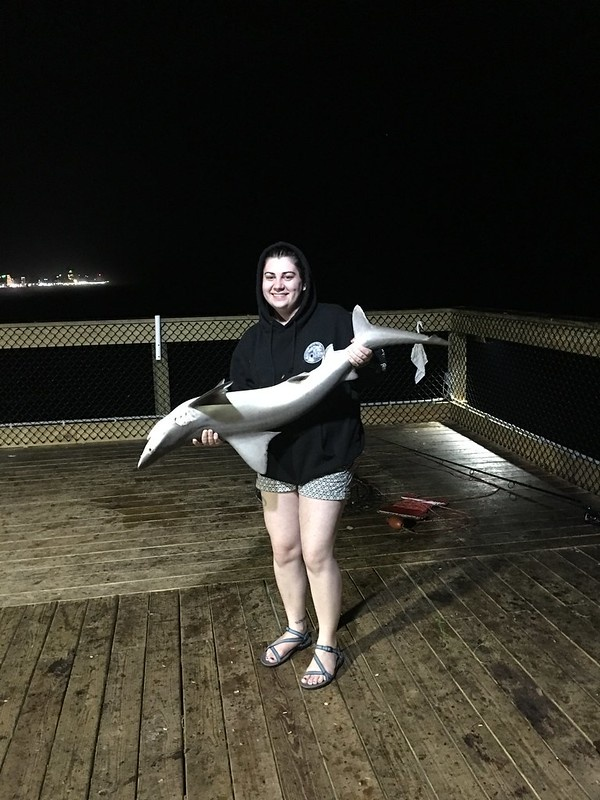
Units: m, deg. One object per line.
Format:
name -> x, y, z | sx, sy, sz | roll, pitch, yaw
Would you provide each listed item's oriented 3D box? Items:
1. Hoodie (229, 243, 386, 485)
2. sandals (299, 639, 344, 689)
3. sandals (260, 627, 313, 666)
Hoodie -> 0.024, -0.082, 1.818 | 0.283, 0.778, 0.509 | -20, 48, -33
sandals -> 0.084, 0.942, 2.033 | 0.096, 0.077, 0.203 | 0, 1, 24
sandals -> -0.049, 0.929, 2.206 | 0.235, 0.097, 0.088 | -9, 17, -40
